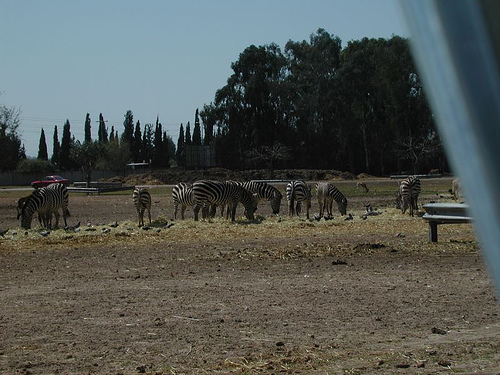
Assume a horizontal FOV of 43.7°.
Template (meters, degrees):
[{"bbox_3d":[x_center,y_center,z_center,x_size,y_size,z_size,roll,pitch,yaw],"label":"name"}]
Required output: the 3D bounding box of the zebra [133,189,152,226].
[{"bbox_3d":[-3.674,0.667,21.399,0.590,1.202,2.629,-1,3,-9],"label":"zebra"}]

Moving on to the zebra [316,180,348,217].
[{"bbox_3d":[3.100,0.456,24.888,0.579,1.448,2.376,1,3,13],"label":"zebra"}]

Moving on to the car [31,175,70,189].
[{"bbox_3d":[-15.888,-0.442,48.927,2.071,0.895,1.068,6,9,24],"label":"car"}]

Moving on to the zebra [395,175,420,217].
[{"bbox_3d":[6.049,0.319,23.741,0.776,1.354,3.439,0,3,14],"label":"zebra"}]

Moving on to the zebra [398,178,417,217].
[{"bbox_3d":[5.931,0.348,23.037,0.536,1.297,1.380,-1,3,2],"label":"zebra"}]

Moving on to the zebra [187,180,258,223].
[{"bbox_3d":[-0.902,0.460,21.912,2.199,1.449,1.097,-2,3,-15],"label":"zebra"}]

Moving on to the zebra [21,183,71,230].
[{"bbox_3d":[-6.709,0.688,20.562,0.586,1.554,2.483,1,7,20],"label":"zebra"}]
